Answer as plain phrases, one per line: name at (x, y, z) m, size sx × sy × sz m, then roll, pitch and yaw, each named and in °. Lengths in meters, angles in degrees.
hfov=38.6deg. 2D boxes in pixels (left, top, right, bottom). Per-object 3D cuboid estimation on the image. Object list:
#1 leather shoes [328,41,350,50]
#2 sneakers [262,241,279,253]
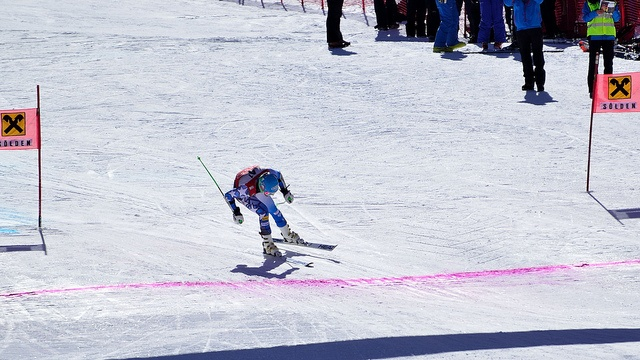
leather shoes at (0.474, -3.480, 23.742) m, size 0.668 × 0.182 × 0.160 m, roll -4°, pitch 35°, yaw -2°
sneakers at (-0.862, 1.170, 15.790) m, size 0.297 × 0.208 × 0.191 m, roll -1°, pitch 12°, yaw 1°
